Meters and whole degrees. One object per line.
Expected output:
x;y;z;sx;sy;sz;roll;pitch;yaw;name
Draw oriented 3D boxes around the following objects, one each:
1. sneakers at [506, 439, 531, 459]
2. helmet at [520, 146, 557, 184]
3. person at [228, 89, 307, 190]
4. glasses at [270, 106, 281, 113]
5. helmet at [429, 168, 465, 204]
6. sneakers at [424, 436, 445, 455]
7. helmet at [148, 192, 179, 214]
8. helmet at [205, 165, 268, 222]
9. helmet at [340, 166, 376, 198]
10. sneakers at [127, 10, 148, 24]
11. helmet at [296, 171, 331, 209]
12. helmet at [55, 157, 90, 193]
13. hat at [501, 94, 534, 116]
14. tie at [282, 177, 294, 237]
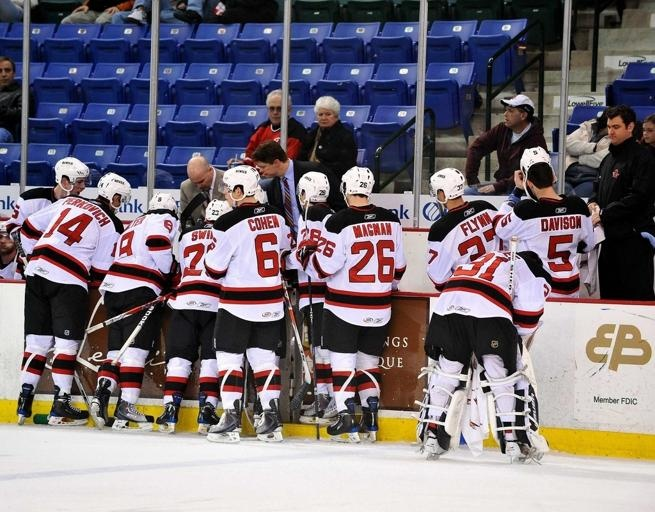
1.395;1.427;7.377;0.119;0.145;0.166;-7;-7;1;sneakers
1.657;-0.772;8.038;0.219;0.282;0.280;-12;-12;3;helmet
-0.482;-1.149;9.486;0.770;1.026;0.749;19;21;40;person
-0.489;-1.372;9.302;0.140;0.050;0.064;-1;-4;22;glasses
0.999;-0.599;8.377;0.293;0.257;0.248;19;29;36;helmet
0.774;1.425;7.482;0.112;0.146;0.155;12;5;24;sneakers
-1.421;-0.485;8.724;0.196;0.192;0.157;-10;20;-25;helmet
-0.716;-0.556;8.343;0.526;0.542;0.360;0;17;2;helmet
0.249;-0.607;8.245;0.212;0.245;0.256;1;10;-8;helmet
-2.729;-3.482;14.436;0.169;0.213;0.327;26;7;-26;sneakers
-0.118;-0.562;8.361;0.231;0.281;0.288;-6;12;-31;helmet
-2.345;-0.765;9.203;0.320;0.322;0.260;1;13;1;helmet
1.723;-1.396;9.075;0.330;0.123;0.211;16;10;-6;hat
-0.349;-0.424;8.931;0.068;0.583;0.067;-31;36;-34;tie
